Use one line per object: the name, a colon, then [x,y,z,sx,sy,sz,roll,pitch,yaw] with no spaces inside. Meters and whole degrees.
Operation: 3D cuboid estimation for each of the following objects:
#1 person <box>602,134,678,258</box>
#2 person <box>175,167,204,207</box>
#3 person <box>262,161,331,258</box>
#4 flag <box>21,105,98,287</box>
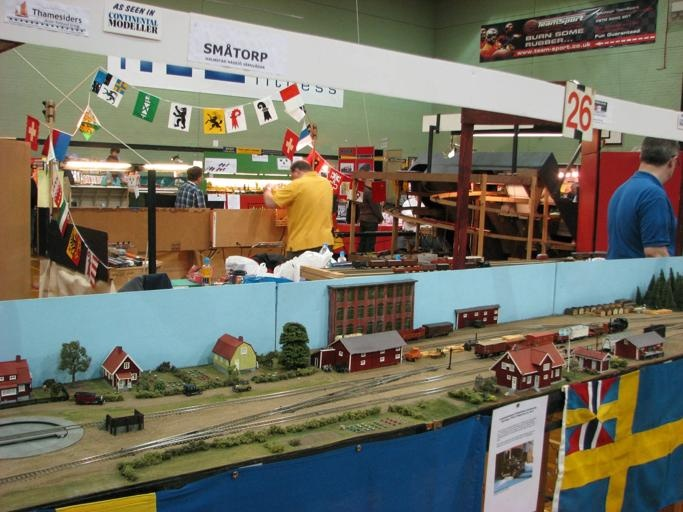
person: [2.923,-0.543,6.324,0.656,1.180,0.659,-1,5,22]
person: [-2.209,-0.970,9.372,0.389,0.605,0.757,-4,5,-15]
person: [-0.485,-0.551,7.726,0.713,1.137,0.642,1,5,38]
flag: [-3.005,-0.579,7.021,0.592,2.122,2.781,-4,5,-25]
